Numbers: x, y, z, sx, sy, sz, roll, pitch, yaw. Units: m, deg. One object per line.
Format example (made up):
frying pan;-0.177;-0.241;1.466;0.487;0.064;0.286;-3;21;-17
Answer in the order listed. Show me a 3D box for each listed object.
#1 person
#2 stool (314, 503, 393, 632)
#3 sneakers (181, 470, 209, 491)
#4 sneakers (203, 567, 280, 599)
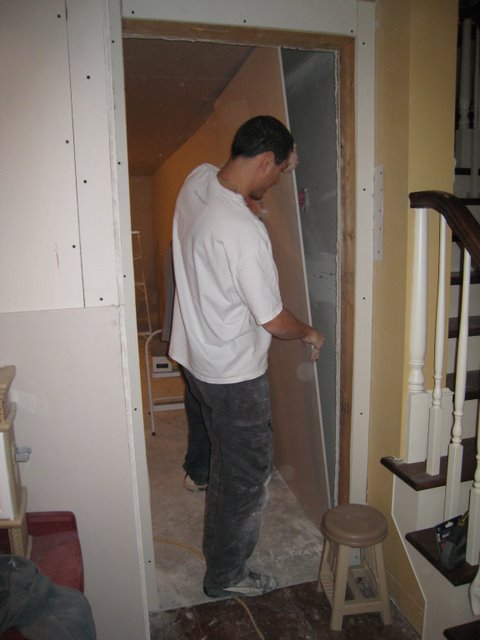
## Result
person;-0.036;0.179;1.999;0.523;1.745;0.400;6;12;33
stool;0.409;0.869;1.956;0.284;0.351;0.287;5;13;28
sneakers;-0.241;0.866;2.855;0.123;0.059;0.141;-9;13;-40
sneakers;0.009;0.991;2.133;0.278;0.137;0.112;-3;5;-13
